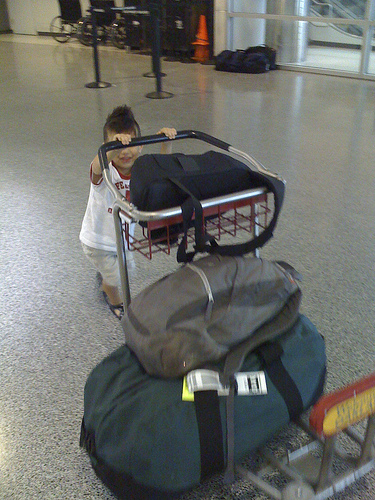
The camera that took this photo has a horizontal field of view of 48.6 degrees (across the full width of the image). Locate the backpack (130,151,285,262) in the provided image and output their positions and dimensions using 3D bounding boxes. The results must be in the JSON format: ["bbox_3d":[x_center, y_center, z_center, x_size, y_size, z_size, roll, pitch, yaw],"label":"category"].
[{"bbox_3d":[0.039,-0.095,0.968,0.332,0.202,0.332,-12,30,-23],"label":"backpack"}]

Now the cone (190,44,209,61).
[{"bbox_3d":[0.238,-3.760,7.857,0.275,0.254,0.268,-10,41,-9],"label":"cone"}]

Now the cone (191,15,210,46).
[{"bbox_3d":[0.278,-3.989,7.593,0.397,0.438,0.383,-10,33,-29],"label":"cone"}]

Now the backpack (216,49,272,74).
[{"bbox_3d":[0.893,-3.077,6.795,0.704,0.247,0.502,17,39,26],"label":"backpack"}]

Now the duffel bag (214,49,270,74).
[{"bbox_3d":[0.884,-3.077,6.827,0.879,0.314,0.399,8,28,15],"label":"duffel bag"}]

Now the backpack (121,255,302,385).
[{"bbox_3d":[0.079,0.102,0.950,0.466,0.142,0.358,-15,30,-16],"label":"backpack"}]

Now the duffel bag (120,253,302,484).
[{"bbox_3d":[0.081,0.208,1.114,0.508,0.459,0.428,-14,31,-22],"label":"duffel bag"}]

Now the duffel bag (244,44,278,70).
[{"bbox_3d":[1.261,-3.317,7.025,0.527,0.543,0.386,3,34,24],"label":"duffel bag"}]

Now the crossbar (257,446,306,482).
[{"bbox_3d":[0.204,0.469,0.903,0.019,0.010,0.100,-43,39,-9],"label":"crossbar"}]

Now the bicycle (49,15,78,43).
[{"bbox_3d":[-3.368,-5.966,11.268,0.680,0.645,2.086,-8,28,-15],"label":"bicycle"}]

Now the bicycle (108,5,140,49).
[{"bbox_3d":[-1.295,-4.490,8.453,0.310,0.586,1.288,-11,29,-20],"label":"bicycle"}]

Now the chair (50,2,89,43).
[{"bbox_3d":[-3.079,-5.905,10.769,0.733,0.875,3.083,-12,29,-22],"label":"chair"}]

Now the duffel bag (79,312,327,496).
[{"bbox_3d":[0.054,0.338,0.958,0.612,0.330,0.338,-9,29,-16],"label":"duffel bag"}]

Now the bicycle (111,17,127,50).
[{"bbox_3d":[-1.413,-4.512,8.565,0.238,0.490,0.853,-8,28,-14],"label":"bicycle"}]
